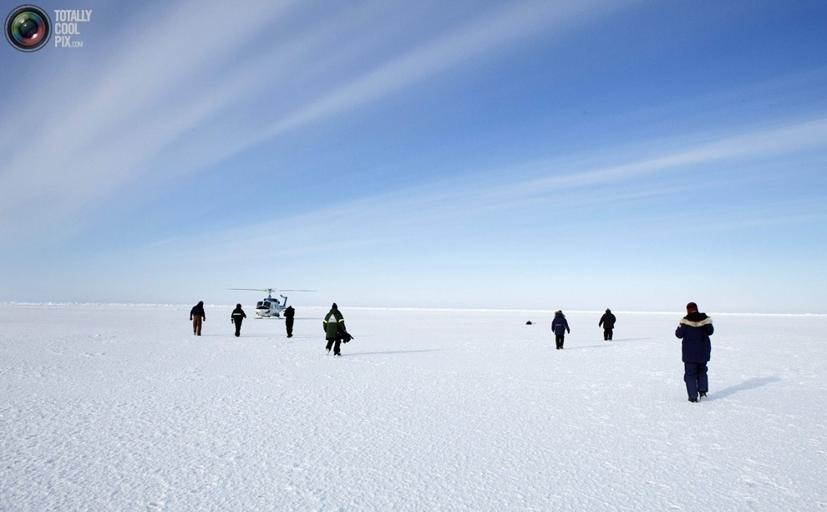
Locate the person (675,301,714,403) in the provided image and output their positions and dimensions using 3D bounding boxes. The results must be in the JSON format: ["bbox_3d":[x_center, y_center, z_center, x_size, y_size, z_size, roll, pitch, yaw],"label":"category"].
[{"bbox_3d":[7.953,2.717,14.749,1.259,2.709,1.054,6,-7,-24],"label":"person"}]
